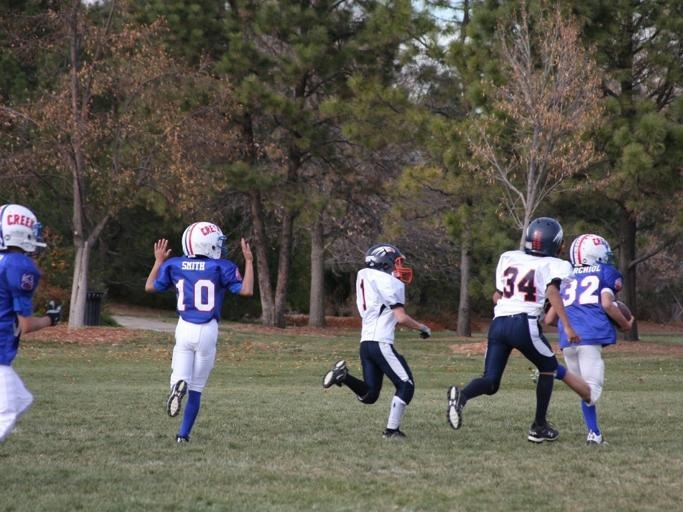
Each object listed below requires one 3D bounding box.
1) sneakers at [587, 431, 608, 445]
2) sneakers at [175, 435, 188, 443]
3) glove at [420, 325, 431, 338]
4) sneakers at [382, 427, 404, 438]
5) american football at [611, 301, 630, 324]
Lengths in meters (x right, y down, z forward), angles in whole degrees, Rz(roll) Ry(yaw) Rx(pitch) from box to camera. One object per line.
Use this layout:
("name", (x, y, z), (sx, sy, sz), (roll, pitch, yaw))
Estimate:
("sneakers", (5.125, 3.584, 25.191), (0.340, 0.245, 0.179), (2, -1, 6))
("sneakers", (-3.216, 3.531, 24.932), (0.263, 0.144, 0.163), (0, 11, -2))
("glove", (1.671, 1.436, 25.363), (0.197, 0.344, 0.581), (1, 11, 3))
("sneakers", (1.026, 3.474, 25.345), (0.450, 0.214, 0.173), (1, 5, -15))
("american football", (5.772, 1.031, 25.743), (0.204, 0.383, 0.375), (-37, 7, 4))
